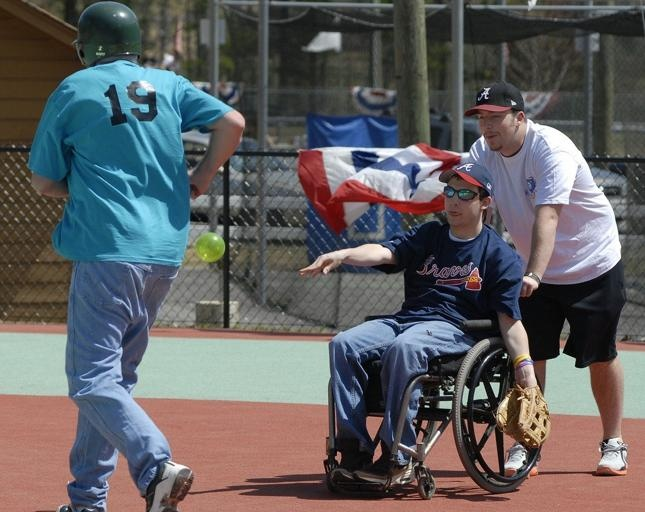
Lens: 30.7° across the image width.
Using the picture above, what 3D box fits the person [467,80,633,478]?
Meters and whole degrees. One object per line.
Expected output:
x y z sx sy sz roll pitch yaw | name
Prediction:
1.550 0.075 7.904 1.412 2.365 1.183 -8 16 -41 | person

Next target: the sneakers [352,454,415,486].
0.362 1.273 6.935 0.421 0.166 0.140 2 -7 -4 | sneakers

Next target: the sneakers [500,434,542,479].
1.227 1.240 7.248 0.230 0.285 0.683 -4 -10 15 | sneakers

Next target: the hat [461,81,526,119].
1.099 -1.009 7.485 0.354 0.203 0.237 1 4 5 | hat

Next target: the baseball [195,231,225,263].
-1.014 -0.083 10.701 0.212 0.214 0.247 -46 -6 21 | baseball

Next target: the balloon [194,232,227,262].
-1.007 -0.085 10.739 0.208 0.209 0.242 -47 -11 21 | balloon

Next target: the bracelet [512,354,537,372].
1.217 0.647 7.070 0.098 0.072 0.097 -15 -4 -20 | bracelet

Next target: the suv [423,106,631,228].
3.117 -1.390 18.077 3.078 1.600 1.857 3 4 43 | suv

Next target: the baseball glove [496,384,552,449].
1.194 0.958 6.978 0.286 0.375 0.180 17 -26 -28 | baseball glove

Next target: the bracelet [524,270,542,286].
1.291 0.140 7.212 0.096 0.095 0.063 6 42 12 | bracelet

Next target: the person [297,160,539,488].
0.536 0.324 7.237 1.229 2.073 0.925 0 1 -28 | person

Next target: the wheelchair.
0.704 0.905 7.147 1.309 1.059 0.759 -3 6 -37 | wheelchair
